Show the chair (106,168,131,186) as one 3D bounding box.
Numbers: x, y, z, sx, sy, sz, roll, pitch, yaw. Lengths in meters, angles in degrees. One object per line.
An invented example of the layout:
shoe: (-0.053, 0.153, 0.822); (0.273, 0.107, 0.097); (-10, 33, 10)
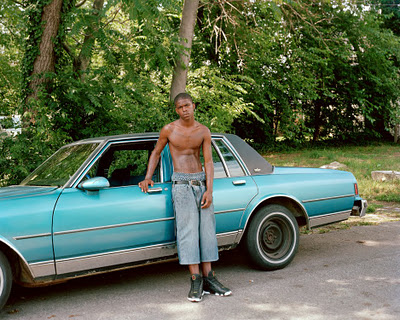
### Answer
chair: (-1.146, 0.243, 5.295); (0.287, 0.292, 0.212); (4, -14, -16)

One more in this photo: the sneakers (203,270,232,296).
sneakers: (0.188, 1.475, 4.480); (0.165, 0.224, 0.432); (-1, -5, -41)

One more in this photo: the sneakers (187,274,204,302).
sneakers: (-0.050, 1.462, 4.384); (0.169, 0.220, 0.464); (-3, 8, 10)

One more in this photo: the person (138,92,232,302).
person: (-0.133, 0.397, 4.468); (0.883, 2.374, 0.614); (-2, 3, -8)
